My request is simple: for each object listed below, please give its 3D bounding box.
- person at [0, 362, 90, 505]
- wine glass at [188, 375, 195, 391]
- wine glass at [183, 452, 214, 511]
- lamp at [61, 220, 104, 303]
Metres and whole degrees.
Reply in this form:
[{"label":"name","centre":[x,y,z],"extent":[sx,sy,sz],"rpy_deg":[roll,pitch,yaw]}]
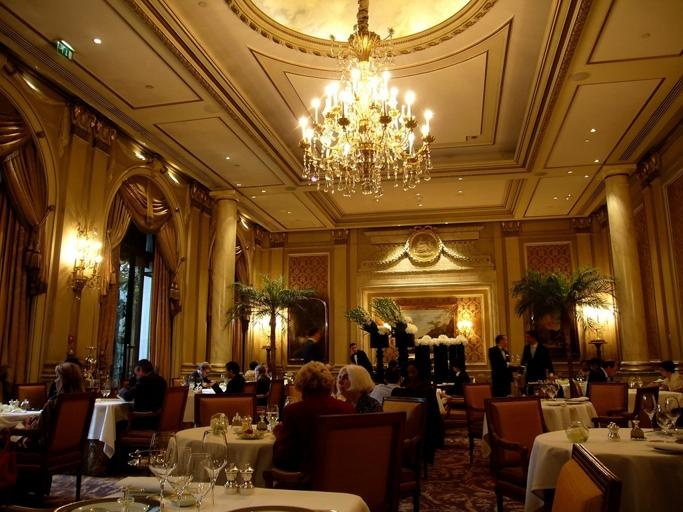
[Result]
[{"label":"person","centre":[-2.990,1.800,4.892],"extent":[0.667,1.397,0.816],"rpy_deg":[9,-17,-27]},{"label":"wine glass","centre":[-2.719,2.296,8.565],"extent":[0.111,0.257,0.365],"rpy_deg":[6,-17,-16]},{"label":"wine glass","centre":[-0.546,0.874,1.827],"extent":[0.093,0.211,0.125],"rpy_deg":[5,-16,-13]},{"label":"lamp","centre":[-4.347,0.085,7.970],"extent":[0.260,1.238,0.660],"rpy_deg":[-5,-16,21]}]
